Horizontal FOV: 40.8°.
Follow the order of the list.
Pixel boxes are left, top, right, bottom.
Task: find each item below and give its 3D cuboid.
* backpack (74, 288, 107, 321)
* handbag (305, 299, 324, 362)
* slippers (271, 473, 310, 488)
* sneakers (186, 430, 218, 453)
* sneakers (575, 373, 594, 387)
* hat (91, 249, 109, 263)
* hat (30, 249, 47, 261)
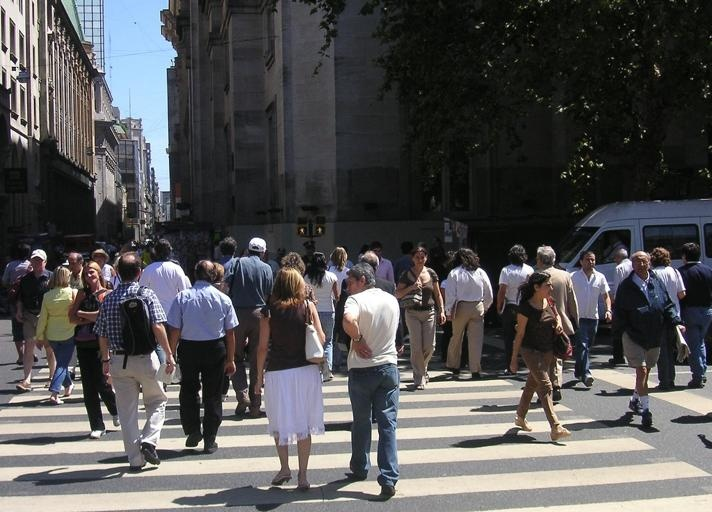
[{"bbox_3d":[-4.415,0.830,15.793,0.404,0.708,0.724,4,-10,-2],"label":"backpack"},{"bbox_3d":[-0.618,1.133,14.094,0.269,0.886,0.375,-1,10,-2],"label":"handbag"},{"bbox_3d":[-0.955,3.270,14.064,0.589,0.265,0.220,6,1,11],"label":"slippers"},{"bbox_3d":[-2.438,2.965,15.169,0.579,0.246,0.258,17,-3,27],"label":"sneakers"},{"bbox_3d":[4.306,2.330,18.023,0.146,0.206,0.458,1,3,-4],"label":"sneakers"},{"bbox_3d":[-4.912,-0.030,18.326,0.229,0.316,0.319,-1,-12,1],"label":"hat"},{"bbox_3d":[-6.151,-0.033,18.592,0.230,0.159,0.361,2,-3,-6],"label":"hat"}]
